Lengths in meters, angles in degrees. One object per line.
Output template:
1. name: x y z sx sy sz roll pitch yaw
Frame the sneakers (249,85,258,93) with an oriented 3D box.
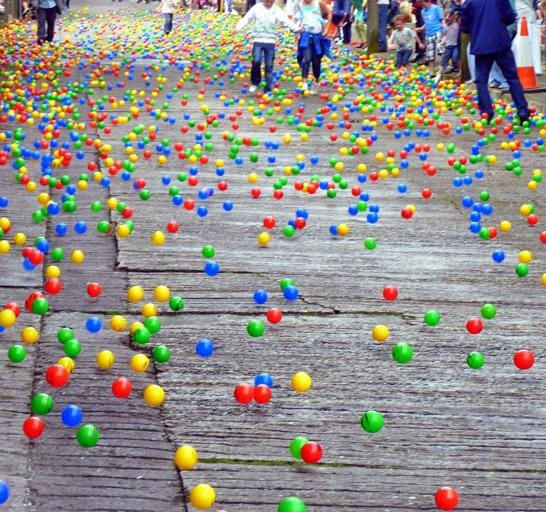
1. sneakers: -0.218 -1.995 11.426 0.104 0.099 0.269 7 5 1

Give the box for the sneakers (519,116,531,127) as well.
1. sneakers: 2.487 -1.345 9.482 0.125 0.131 0.118 8 23 24

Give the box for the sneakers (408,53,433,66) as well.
1. sneakers: 2.121 -2.821 13.728 0.301 0.133 0.367 1 18 3
